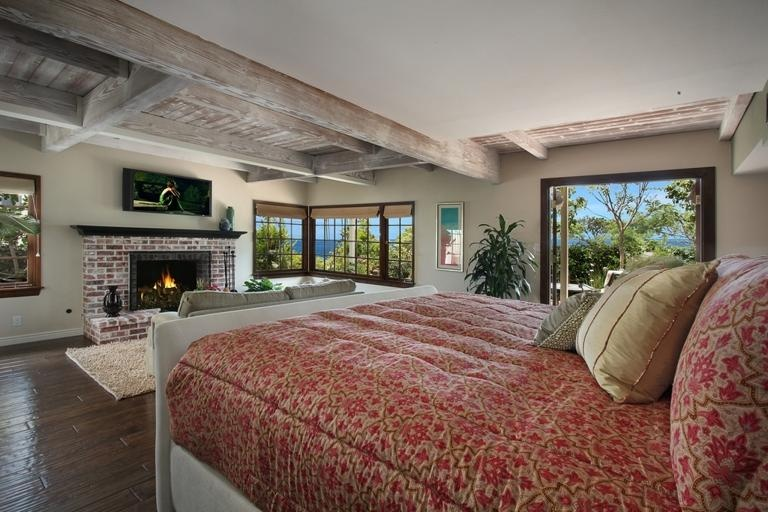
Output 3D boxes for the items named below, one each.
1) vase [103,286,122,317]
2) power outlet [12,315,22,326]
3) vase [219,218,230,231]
[{"bbox_3d":[-3.609,0.595,5.927,0.201,0.413,0.280,-1,1,-32],"label":"vase"},{"bbox_3d":[-4.538,0.802,5.521,0.028,0.093,0.091,0,0,36],"label":"power outlet"},{"bbox_3d":[-2.586,-0.513,7.223,0.173,0.208,0.161,-1,0,2],"label":"vase"}]
